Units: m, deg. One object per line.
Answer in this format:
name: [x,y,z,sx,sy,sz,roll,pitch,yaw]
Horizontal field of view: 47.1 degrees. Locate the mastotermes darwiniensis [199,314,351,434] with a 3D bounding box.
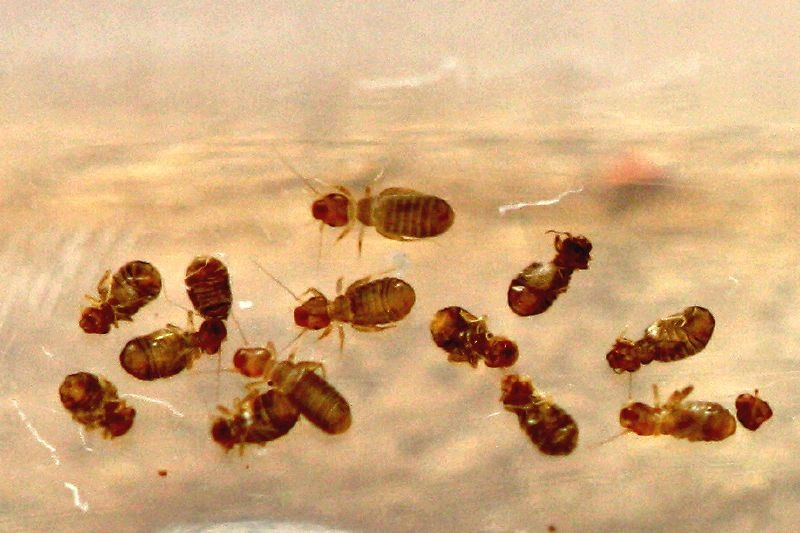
mastotermes darwiniensis: [-0.936,1.134,8.435,1.614,0.992,0.344,20,113,35]

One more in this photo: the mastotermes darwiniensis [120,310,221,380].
mastotermes darwiniensis: [-2.004,0.717,8.335,1.070,0.285,0.574,-18,51,2]

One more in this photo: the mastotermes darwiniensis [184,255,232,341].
mastotermes darwiniensis: [-1.731,0.228,8.328,0.530,0.160,0.548,-5,87,-13]

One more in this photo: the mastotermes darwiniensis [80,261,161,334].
mastotermes darwiniensis: [-2.624,0.270,8.387,0.245,0.594,0.826,-2,45,47]
